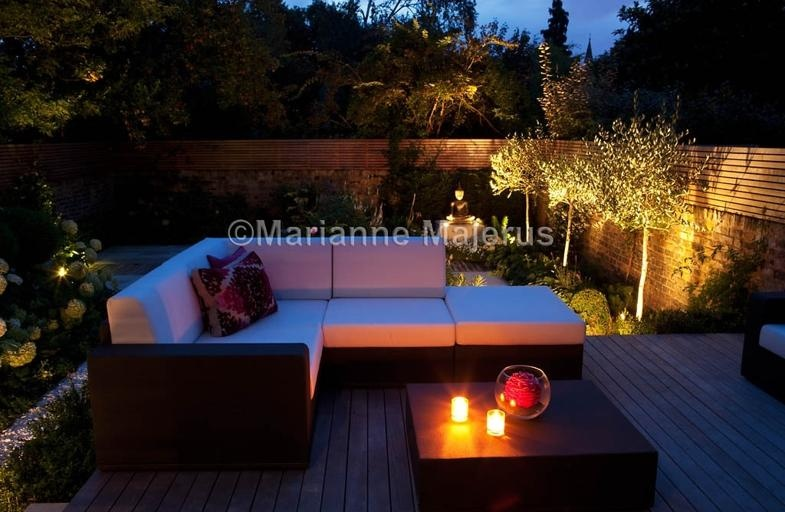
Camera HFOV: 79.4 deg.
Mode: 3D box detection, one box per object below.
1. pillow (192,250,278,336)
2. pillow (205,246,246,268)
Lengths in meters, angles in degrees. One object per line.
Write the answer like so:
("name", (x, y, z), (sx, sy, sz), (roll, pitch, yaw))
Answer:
("pillow", (-1.401, 0.342, 4.161), (0.252, 0.489, 0.614), (1, 15, 24))
("pillow", (-1.514, 0.031, 4.355), (0.207, 0.067, 0.205), (18, 25, 14))
